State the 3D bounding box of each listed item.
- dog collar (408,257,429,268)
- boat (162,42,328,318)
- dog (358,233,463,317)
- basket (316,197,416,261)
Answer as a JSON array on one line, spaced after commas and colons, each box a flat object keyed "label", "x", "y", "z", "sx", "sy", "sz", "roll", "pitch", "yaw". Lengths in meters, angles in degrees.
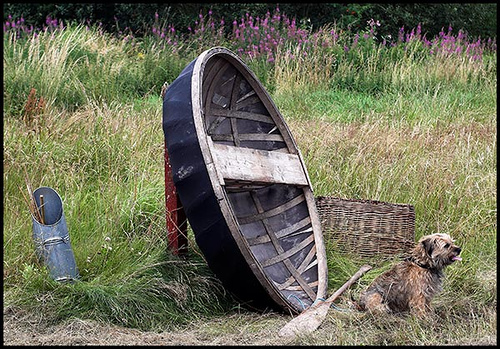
[{"label": "dog collar", "x": 1.787, "y": 0.945, "z": 6.808, "sx": 0.125, "sy": 0.032, "sz": 0.099, "roll": 42, "pitch": 24, "yaw": 12}, {"label": "boat", "x": -0.038, "y": 0.118, "z": 7.447, "sx": 0.655, "sy": 3.100, "sz": 2.195, "roll": -17, "pitch": -6, "yaw": 20}, {"label": "dog", "x": 1.659, "y": 1.149, "z": 6.984, "sx": 1.180, "sy": 0.962, "sz": 0.501, "roll": -9, "pitch": 0, "yaw": 23}, {"label": "basket", "x": 1.450, "y": 0.639, "z": 7.839, "sx": 0.888, "sy": 0.484, "sz": 0.723, "roll": 6, "pitch": -4, "yaw": 6}]
